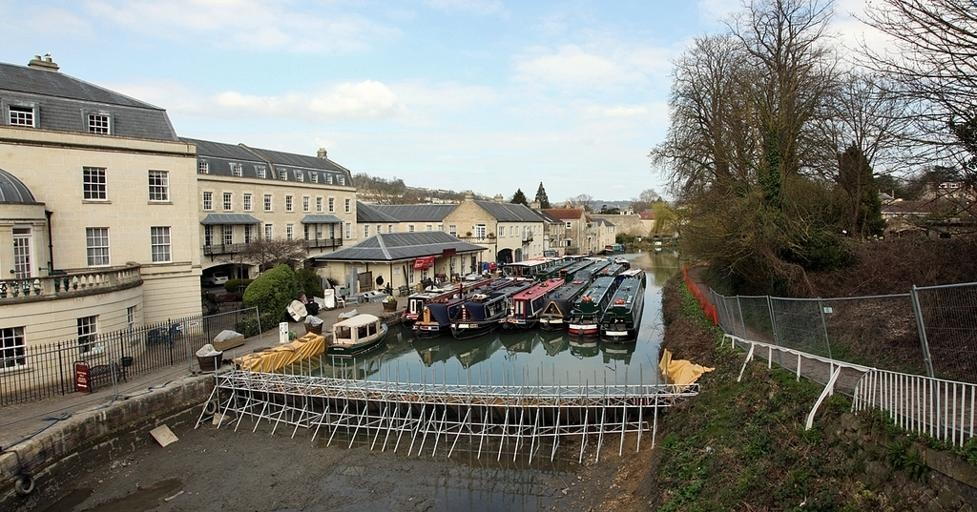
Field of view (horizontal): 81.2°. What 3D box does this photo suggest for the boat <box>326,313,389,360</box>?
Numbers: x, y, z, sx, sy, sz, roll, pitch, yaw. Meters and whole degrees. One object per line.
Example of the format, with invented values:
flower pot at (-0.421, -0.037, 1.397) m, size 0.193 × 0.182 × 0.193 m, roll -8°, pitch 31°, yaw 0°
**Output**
boat at (-8.354, 5.014, 36.560) m, size 1.809 × 1.308 × 4.166 m, roll 5°, pitch 14°, yaw 21°
